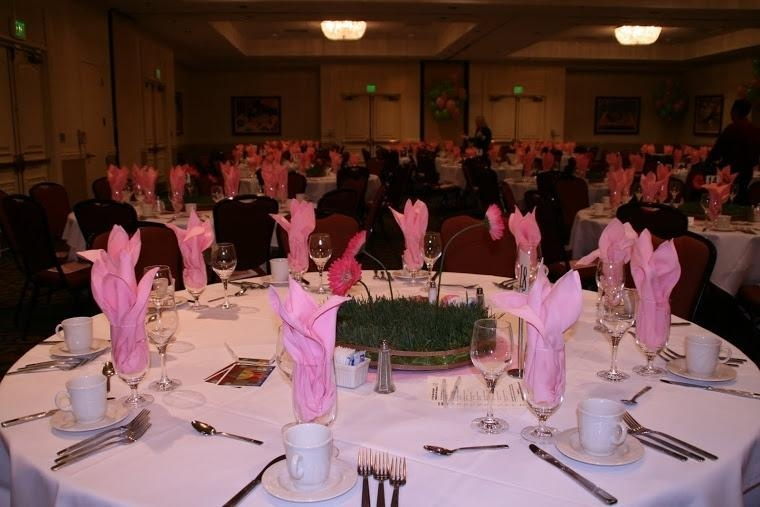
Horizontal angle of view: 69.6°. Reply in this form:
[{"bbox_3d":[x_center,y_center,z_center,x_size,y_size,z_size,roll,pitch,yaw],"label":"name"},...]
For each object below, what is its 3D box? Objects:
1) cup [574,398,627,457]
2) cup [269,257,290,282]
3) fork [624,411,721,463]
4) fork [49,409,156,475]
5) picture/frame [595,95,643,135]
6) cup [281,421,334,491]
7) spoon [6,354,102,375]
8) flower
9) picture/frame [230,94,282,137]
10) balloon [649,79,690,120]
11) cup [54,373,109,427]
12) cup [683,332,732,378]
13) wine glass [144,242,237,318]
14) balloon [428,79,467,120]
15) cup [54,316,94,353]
[{"bbox_3d":[0.577,0.468,1.425,0.106,0.109,0.137,10,-9,-12],"label":"cup"},{"bbox_3d":[-0.495,0.076,2.729,0.076,0.114,0.124,4,14,10],"label":"cup"},{"bbox_3d":[0.775,0.499,1.510,0.081,0.019,0.308,-13,14,-30],"label":"fork"},{"bbox_3d":[-0.752,0.510,1.510,0.271,0.044,0.079,-22,35,-20],"label":"fork"},{"bbox_3d":[8.239,-4.772,19.048,1.454,1.383,0.141,3,-6,11],"label":"picture/frame"},{"bbox_3d":[-0.191,0.511,1.334,0.126,0.142,0.173,1,3,10],"label":"cup"},{"bbox_3d":[-1.133,0.385,1.922,0.200,0.033,0.028,-10,21,-10],"label":"spoon"},{"bbox_3d":[0.168,0.101,2.128,0.560,0.555,0.706,2,5,33],"label":"flower"},{"bbox_3d":[-4.081,-4.558,17.830,1.177,1.080,0.120,0,6,-9],"label":"picture/frame"},{"bbox_3d":[9.906,-5.214,18.754,1.272,1.561,1.156,11,25,29],"label":"balloon"},{"bbox_3d":[-0.834,0.408,1.564,0.149,0.126,0.099,-3,19,-23],"label":"cup"},{"bbox_3d":[1.095,0.347,1.837,0.110,0.122,0.136,-9,11,-41],"label":"cup"},{"bbox_3d":[-0.838,0.084,2.534,0.293,0.448,0.270,-3,9,-12],"label":"wine glass"},{"bbox_3d":[1.982,-4.663,16.631,1.019,1.316,0.658,5,2,14],"label":"balloon"},{"bbox_3d":[-1.100,0.289,1.978,0.132,0.133,0.111,1,10,-3],"label":"cup"}]
